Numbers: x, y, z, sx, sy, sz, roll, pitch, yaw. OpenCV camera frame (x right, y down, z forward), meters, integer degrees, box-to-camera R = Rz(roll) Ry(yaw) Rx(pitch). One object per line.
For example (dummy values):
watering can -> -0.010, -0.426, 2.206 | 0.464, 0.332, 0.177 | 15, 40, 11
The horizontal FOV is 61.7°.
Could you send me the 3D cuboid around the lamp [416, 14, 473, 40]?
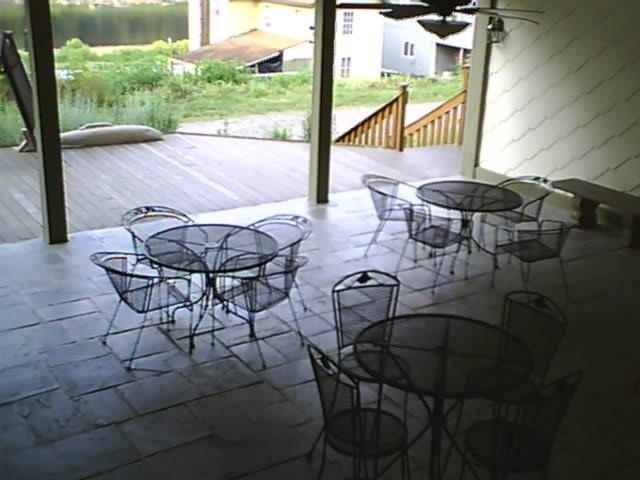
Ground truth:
lamp -> 0.963, -1.650, 4.180 | 0.339, 0.152, 0.460 | 13, 25, 25
